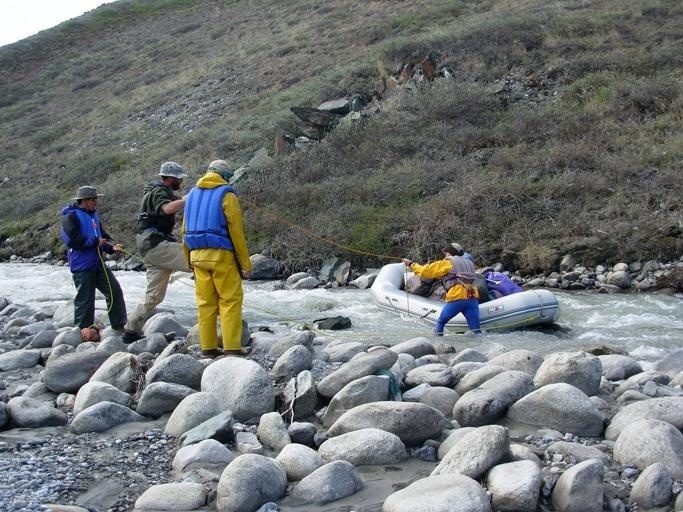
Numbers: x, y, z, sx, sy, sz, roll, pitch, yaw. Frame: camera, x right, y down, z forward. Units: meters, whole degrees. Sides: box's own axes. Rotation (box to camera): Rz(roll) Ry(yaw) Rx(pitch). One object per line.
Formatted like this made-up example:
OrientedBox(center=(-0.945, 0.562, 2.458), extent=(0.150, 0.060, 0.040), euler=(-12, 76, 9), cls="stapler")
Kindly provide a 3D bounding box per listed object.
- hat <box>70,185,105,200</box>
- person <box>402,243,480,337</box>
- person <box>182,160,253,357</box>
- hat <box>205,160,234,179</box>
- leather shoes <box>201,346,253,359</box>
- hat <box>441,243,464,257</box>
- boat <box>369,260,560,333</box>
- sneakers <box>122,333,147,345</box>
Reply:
OrientedBox(center=(-3.665, -0.904, 9.310), extent=(0.272, 0.199, 0.363), euler=(-6, 4, -30), cls="hat")
OrientedBox(center=(1.710, 0.632, 11.091), extent=(1.414, 1.626, 1.155), euler=(2, 5, 2), cls="person")
OrientedBox(center=(-1.551, 0.003, 8.107), extent=(0.812, 2.418, 0.609), euler=(-1, 5, 38), cls="person")
OrientedBox(center=(-1.623, -1.154, 8.461), extent=(0.313, 0.316, 0.377), euler=(9, 15, 22), cls="hat")
OrientedBox(center=(-1.423, 1.203, 8.000), extent=(0.601, 0.211, 0.192), euler=(-3, 5, 5), cls="leather shoes")
OrientedBox(center=(1.872, -0.127, 11.191), extent=(0.232, 0.162, 0.317), euler=(-2, 10, -31), cls="hat")
OrientedBox(center=(1.844, 0.596, 11.679), extent=(1.467, 0.574, 2.729), euler=(-2, 4, -32), cls="boat")
OrientedBox(center=(-2.936, 1.103, 9.127), extent=(0.286, 0.160, 0.407), euler=(-5, 4, -18), cls="sneakers")
